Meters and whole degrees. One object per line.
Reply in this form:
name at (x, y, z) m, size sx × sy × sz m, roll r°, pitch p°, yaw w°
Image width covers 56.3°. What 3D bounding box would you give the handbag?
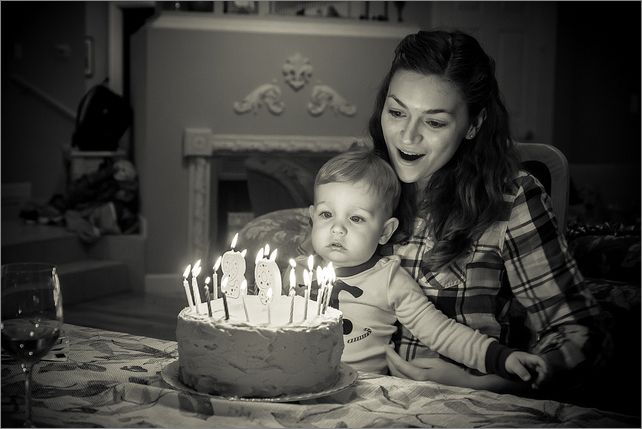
handbag at (-1.758, -0.743, 4.796) m, size 0.445 × 0.516 × 0.150 m, roll 30°, pitch 1°, yaw -39°
